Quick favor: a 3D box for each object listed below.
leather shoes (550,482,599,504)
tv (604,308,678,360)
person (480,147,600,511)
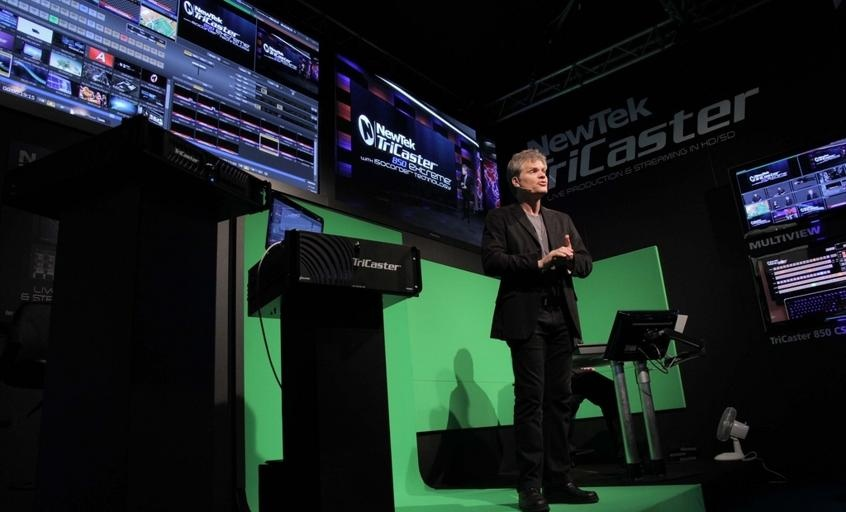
[{"bbox_3d":[0.973,1.568,4.079,0.371,0.132,0.119,-7,-13,21],"label":"leather shoes"},{"bbox_3d":[1.756,0.636,4.841,0.551,0.427,0.184,3,14,-21],"label":"tv"},{"bbox_3d":[0.855,0.438,4.254,0.666,2.455,0.684,-11,-22,25],"label":"person"}]
